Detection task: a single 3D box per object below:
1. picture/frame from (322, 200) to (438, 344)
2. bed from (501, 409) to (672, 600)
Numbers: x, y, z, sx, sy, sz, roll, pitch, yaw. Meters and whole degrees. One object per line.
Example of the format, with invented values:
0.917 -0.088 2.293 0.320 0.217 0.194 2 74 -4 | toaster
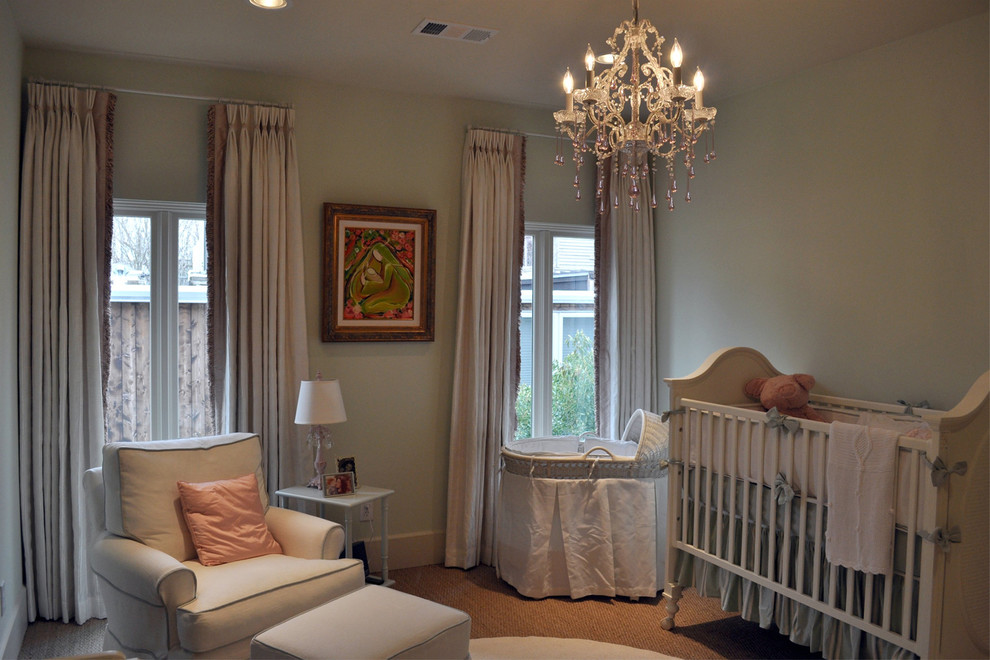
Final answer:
-0.865 -0.436 5.586 0.946 1.192 0.090 0 2 -14 | picture/frame
0.583 1.225 5.654 1.176 1.270 1.061 2 -3 0 | bed
